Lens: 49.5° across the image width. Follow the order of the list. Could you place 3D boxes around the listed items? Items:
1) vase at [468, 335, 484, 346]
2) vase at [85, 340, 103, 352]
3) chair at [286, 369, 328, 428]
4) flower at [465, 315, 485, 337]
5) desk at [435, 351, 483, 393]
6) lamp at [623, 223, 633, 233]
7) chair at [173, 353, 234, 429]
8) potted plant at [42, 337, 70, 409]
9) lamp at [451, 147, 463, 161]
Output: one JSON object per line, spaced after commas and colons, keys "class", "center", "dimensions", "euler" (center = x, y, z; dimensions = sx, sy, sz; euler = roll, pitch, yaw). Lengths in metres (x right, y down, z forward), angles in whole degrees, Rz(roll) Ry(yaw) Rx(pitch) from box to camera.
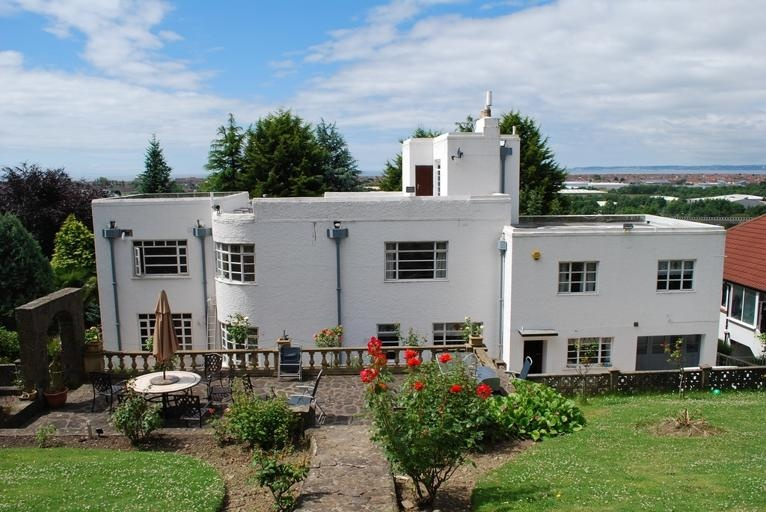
{"class": "vase", "center": [4.144, 3.826, 37.055], "dimensions": [0.587, 0.484, 0.386], "euler": [-1, 0, -9]}
{"class": "vase", "center": [-12.406, 3.923, 35.729], "dimensions": [0.682, 0.283, 0.418], "euler": [1, -1, -11]}
{"class": "chair", "center": [-3.030, 5.834, 33.015], "dimensions": [2.149, 2.376, 1.660], "euler": [2, -2, -6]}
{"class": "flower", "center": [4.368, 3.500, 40.129], "dimensions": [0.952, 0.923, 2.676], "euler": [-1, 0, 7]}
{"class": "desk", "center": [2.909, 4.405, 30.356], "dimensions": [1.930, 1.057, 1.829], "euler": [2, 1, -1]}
{"class": "lamp", "center": [11.854, -1.359, 40.417], "dimensions": [0.522, 0.418, 0.118], "euler": [3, -22, 12]}
{"class": "chair", "center": [-6.967, 5.541, 33.639], "dimensions": [1.317, 2.116, 3.724], "euler": [-1, -3, 2]}
{"class": "potted plant", "center": [-13.654, 4.900, 34.761], "dimensions": [0.883, 2.298, 2.393], "euler": [-1, 0, -21]}
{"class": "lamp", "center": [3.953, -5.429, 44.189], "dimensions": [0.829, 0.675, 0.448], "euler": [2, 7, -1]}
